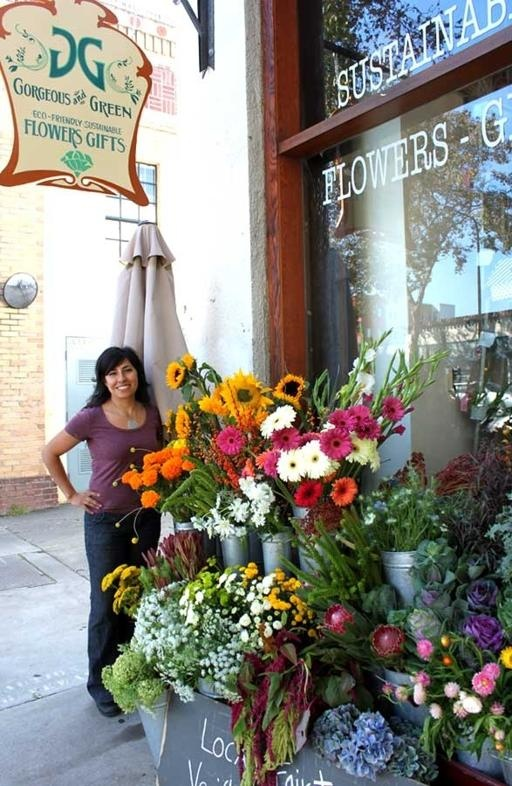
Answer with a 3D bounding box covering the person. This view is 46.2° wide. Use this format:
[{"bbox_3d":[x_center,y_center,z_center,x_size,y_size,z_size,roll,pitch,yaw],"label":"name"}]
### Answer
[{"bbox_3d":[-0.574,0.578,2.500,0.488,1.548,0.460,-2,8,-23],"label":"person"}]
